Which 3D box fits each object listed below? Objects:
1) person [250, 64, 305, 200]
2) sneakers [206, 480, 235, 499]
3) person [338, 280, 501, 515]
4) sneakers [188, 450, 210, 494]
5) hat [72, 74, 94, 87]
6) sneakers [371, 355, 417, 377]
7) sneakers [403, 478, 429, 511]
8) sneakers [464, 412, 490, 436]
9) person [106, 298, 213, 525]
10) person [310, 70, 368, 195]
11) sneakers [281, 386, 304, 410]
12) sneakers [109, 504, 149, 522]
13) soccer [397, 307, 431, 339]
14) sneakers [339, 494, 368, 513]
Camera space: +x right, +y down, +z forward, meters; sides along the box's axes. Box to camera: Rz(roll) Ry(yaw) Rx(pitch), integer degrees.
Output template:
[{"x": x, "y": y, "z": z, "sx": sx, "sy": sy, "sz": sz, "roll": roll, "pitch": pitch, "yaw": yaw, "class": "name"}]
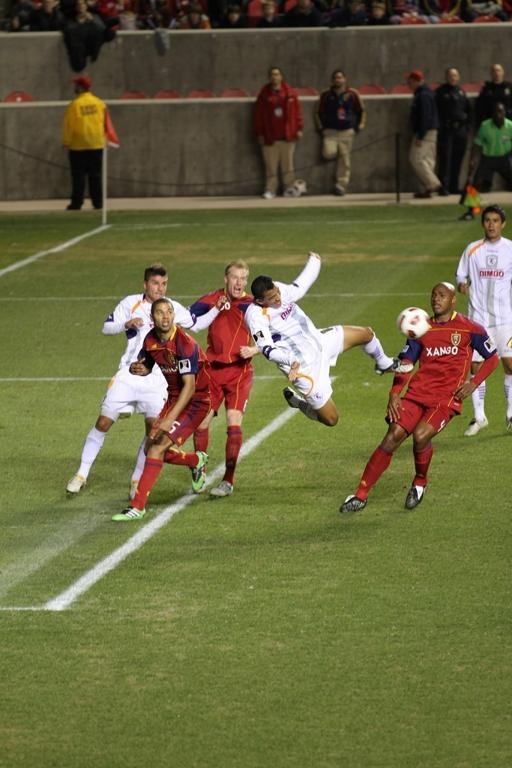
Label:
[{"x": 0.473, "y": -5.285, "z": 21.267, "sx": 0.988, "sy": 2.643, "sz": 1.136, "roll": -2, "pitch": 15, "yaw": 0, "class": "person"}, {"x": -0.243, "y": 0.736, "z": 6.945, "sx": 0.082, "sy": 0.079, "sz": 0.198, "roll": 23, "pitch": 8, "yaw": 22, "class": "sneakers"}, {"x": 1.095, "y": 0.085, "z": 6.590, "sx": 0.474, "sy": 1.458, "sz": 1.112, "roll": 12, "pitch": 20, "yaw": 41, "class": "person"}, {"x": -0.432, "y": 0.615, "z": 7.049, "sx": 0.123, "sy": 0.284, "sz": 0.162, "roll": 6, "pitch": 16, "yaw": 26, "class": "sneakers"}, {"x": -3.212, "y": -5.623, "z": 18.588, "sx": 0.221, "sy": 0.210, "sz": 0.472, "roll": -6, "pitch": 14, "yaw": -17, "class": "hat"}, {"x": 0.908, "y": -0.114, "z": 6.716, "sx": 0.332, "sy": 0.127, "sz": 0.111, "roll": -6, "pitch": -7, "yaw": 38, "class": "sneakers"}, {"x": 1.048, "y": 0.734, "z": 6.638, "sx": 0.092, "sy": 0.229, "sz": 0.107, "roll": 13, "pitch": -30, "yaw": 39, "class": "sneakers"}, {"x": 1.860, "y": 0.339, "z": 8.471, "sx": 0.271, "sy": 0.096, "sz": 0.098, "roll": -29, "pitch": 12, "yaw": -39, "class": "sneakers"}, {"x": -0.616, "y": 0.143, "z": 6.560, "sx": 0.558, "sy": 1.453, "sz": 0.761, "roll": 0, "pitch": 15, "yaw": 8, "class": "person"}, {"x": 1.765, "y": -5.315, "z": 21.413, "sx": 0.978, "sy": 2.534, "sz": 1.282, "roll": 5, "pitch": 17, "yaw": 24, "class": "person"}, {"x": 0.250, "y": 0.104, "z": 7.424, "sx": 0.099, "sy": 0.077, "sz": 0.224, "roll": 18, "pitch": 12, "yaw": -28, "class": "sneakers"}, {"x": -0.822, "y": 0.837, "z": 6.473, "sx": 0.230, "sy": 0.080, "sz": 0.087, "roll": 0, "pitch": 4, "yaw": -23, "class": "sneakers"}, {"x": 1.038, "y": -0.403, "z": 6.570, "sx": 0.212, "sy": 0.181, "sz": 0.248, "roll": -5, "pitch": 14, "yaw": -16, "class": "soccer"}, {"x": 0.649, "y": 0.775, "z": 6.512, "sx": 0.110, "sy": 0.069, "sz": 0.167, "roll": 8, "pitch": -17, "yaw": -27, "class": "sneakers"}]
